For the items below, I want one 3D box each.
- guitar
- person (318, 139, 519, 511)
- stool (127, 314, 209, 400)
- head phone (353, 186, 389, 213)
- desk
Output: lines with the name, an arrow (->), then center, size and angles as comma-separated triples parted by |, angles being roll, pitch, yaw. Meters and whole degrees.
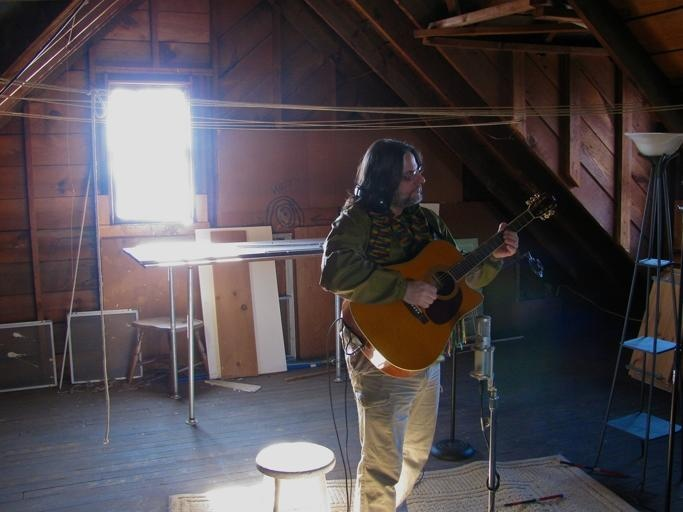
guitar -> 0.690, 0.046, 3.769 | 1.366, 0.597, 0.197 | -39, -15, -16
person -> 0.315, 0.541, 3.763 | 0.593, 2.345, 0.898 | 10, 16, 36
stool -> -1.715, 0.859, 6.163 | 0.683, 0.573, 0.729 | 10, 11, -33
head phone -> 0.163, -0.307, 3.632 | 0.163, 0.042, 0.123 | 26, -26, 18
desk -> -0.513, 0.675, 5.769 | 2.071, 1.613, 1.126 | -7, 4, -30
